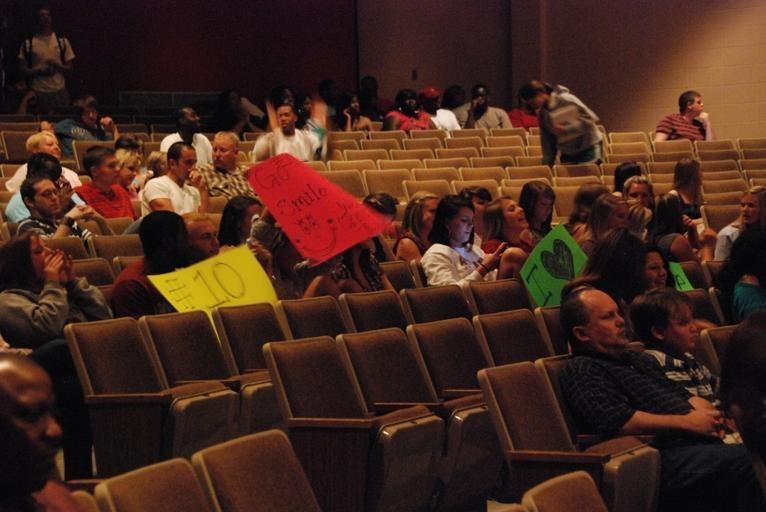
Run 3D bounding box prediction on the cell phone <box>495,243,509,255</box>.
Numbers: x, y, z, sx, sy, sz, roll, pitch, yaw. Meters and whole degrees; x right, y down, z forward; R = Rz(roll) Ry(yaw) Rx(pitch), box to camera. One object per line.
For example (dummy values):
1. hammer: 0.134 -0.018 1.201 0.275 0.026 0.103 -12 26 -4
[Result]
1. cell phone: 0.872 -0.053 4.119 0.055 0.040 0.137 15 40 41
